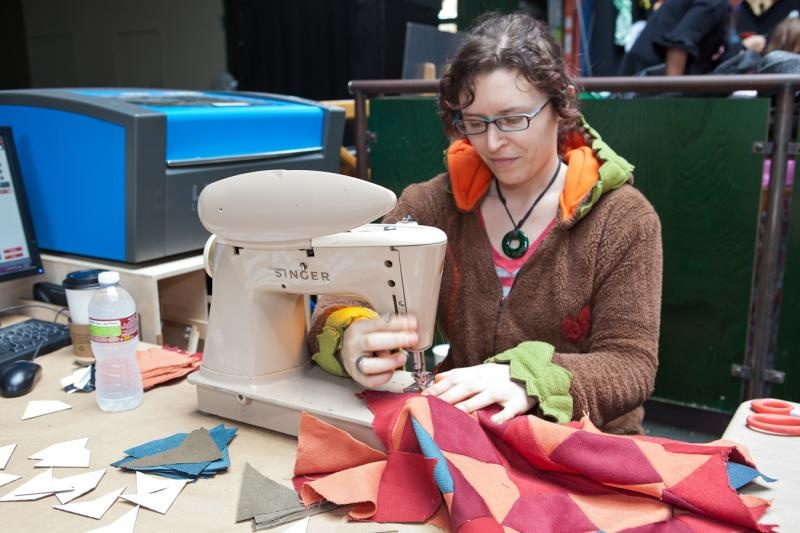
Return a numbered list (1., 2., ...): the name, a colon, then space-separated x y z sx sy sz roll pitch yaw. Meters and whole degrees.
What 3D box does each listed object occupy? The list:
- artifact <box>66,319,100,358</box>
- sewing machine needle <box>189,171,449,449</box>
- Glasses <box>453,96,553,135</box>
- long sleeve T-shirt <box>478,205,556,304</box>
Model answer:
1. artifact: -0.973 0.216 2.133 0.097 0.109 0.108 -3 4 -29
2. sewing machine needle: -0.209 0.128 1.792 0.593 0.586 0.292 8 24 15
3. Glasses: 0.297 -0.422 1.966 0.229 0.099 0.083 4 15 17
4. long sleeve T-shirt: 0.320 -0.042 2.048 0.158 0.257 0.049 -4 -4 27
